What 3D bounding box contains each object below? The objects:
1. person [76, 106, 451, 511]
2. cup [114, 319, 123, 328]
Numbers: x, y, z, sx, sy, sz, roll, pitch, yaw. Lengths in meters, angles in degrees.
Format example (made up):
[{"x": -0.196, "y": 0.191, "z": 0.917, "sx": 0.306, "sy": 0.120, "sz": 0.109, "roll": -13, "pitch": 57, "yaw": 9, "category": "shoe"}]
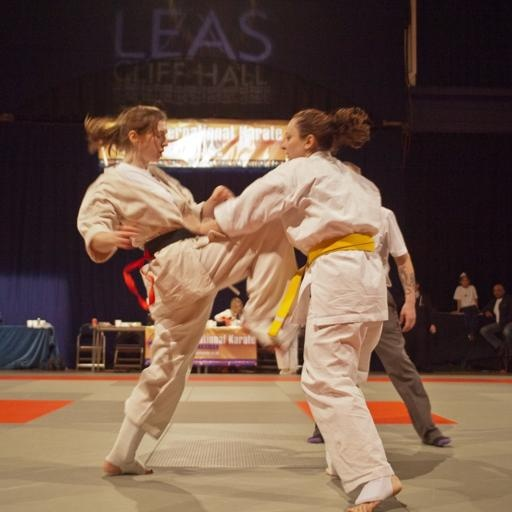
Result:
[{"x": -0.448, "y": 0.186, "z": 3.825, "sx": 1.232, "sy": 2.144, "sz": 0.645, "roll": 2, "pitch": 2, "yaw": 0, "category": "person"}, {"x": -2.079, "y": 1.021, "z": 10.064, "sx": 0.148, "sy": 0.144, "sz": 0.133, "roll": -2, "pitch": -17, "yaw": 2, "category": "cup"}]
